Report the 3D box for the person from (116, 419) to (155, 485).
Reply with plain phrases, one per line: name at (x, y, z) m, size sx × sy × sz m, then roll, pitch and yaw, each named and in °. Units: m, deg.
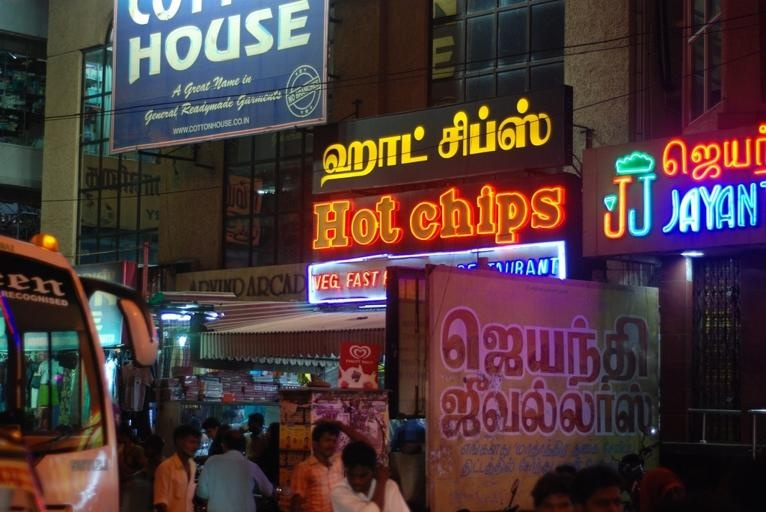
person at (-4.790, 3.799, 20.084) m, size 0.499 × 0.538 × 1.426 m, roll -11°, pitch 20°, yaw -5°
